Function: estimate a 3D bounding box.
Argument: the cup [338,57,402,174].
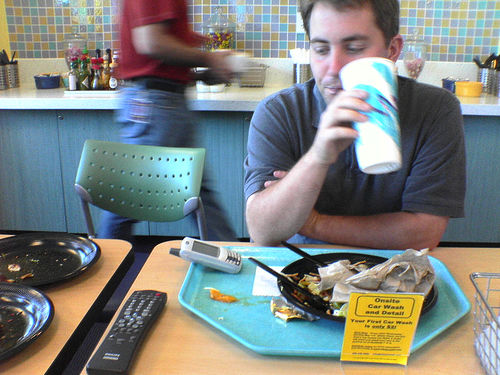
[{"bbox_3d":[0.223,-0.128,0.715,0.108,0.227,0.157,1,16,12],"label":"cup"}]

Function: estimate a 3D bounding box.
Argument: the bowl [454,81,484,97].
[{"bbox_3d":[1.388,-0.607,2.420,0.119,0.056,0.118,0,11,0],"label":"bowl"}]

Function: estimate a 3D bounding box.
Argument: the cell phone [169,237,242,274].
[{"bbox_3d":[-0.102,0.158,0.896,0.171,0.043,0.096,16,13,-8],"label":"cell phone"}]

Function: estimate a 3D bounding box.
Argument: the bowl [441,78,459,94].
[{"bbox_3d":[1.331,-0.678,2.552,0.092,0.082,0.086,-2,9,0],"label":"bowl"}]

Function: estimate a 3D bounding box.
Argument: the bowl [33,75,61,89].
[{"bbox_3d":[-1.439,-0.756,2.743,0.168,0.093,0.083,-9,17,-25],"label":"bowl"}]
